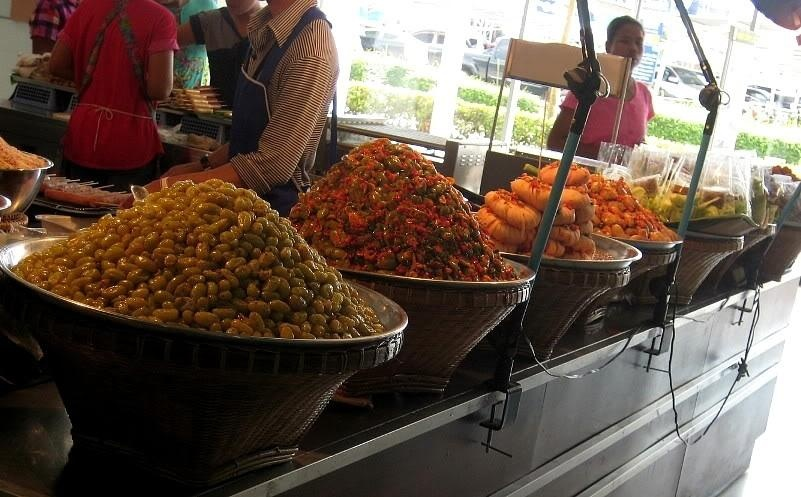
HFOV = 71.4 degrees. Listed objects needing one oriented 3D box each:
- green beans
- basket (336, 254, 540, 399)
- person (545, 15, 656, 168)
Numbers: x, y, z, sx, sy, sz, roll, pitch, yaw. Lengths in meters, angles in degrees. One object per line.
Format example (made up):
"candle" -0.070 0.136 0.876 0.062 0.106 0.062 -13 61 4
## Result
"green beans" -0.447 -0.029 1.218 0.703 0.221 0.655 7 15 -18
"basket" 0.060 0.164 1.443 0.367 0.354 0.366 7 2 -29
"person" 1.450 -1.121 3.854 0.517 0.985 0.872 18 15 26
